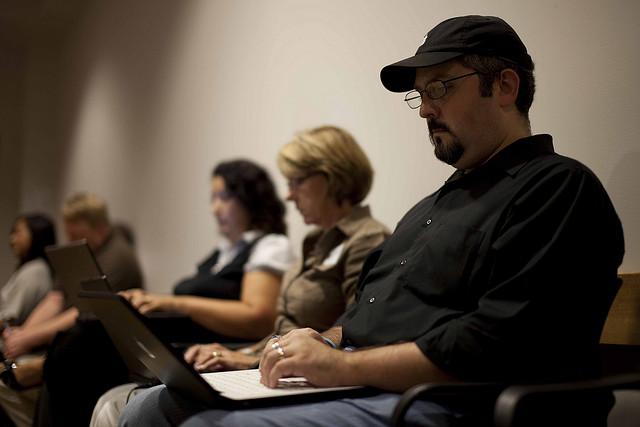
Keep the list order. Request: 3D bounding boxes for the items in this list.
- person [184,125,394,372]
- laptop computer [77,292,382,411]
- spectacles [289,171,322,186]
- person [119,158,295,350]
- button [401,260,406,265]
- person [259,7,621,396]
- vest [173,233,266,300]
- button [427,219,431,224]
[{"bbox_3d":[-0.147,0.176,2.308,0.890,1.104,0.727,-1,-4,-11],"label":"person"},{"bbox_3d":[-0.273,0.292,1.461,0.566,0.216,0.414,1,-5,-28],"label":"laptop computer"},{"bbox_3d":[-0.082,-0.154,2.306,0.081,0.021,0.063,-27,-4,2],"label":"spectacles"},{"bbox_3d":[-0.570,0.196,2.839,0.527,0.854,0.516,21,-43,-17],"label":"person"},{"bbox_3d":[0.254,0.148,1.629,0.004,0.012,0.011,15,-19,23],"label":"button"},{"bbox_3d":[0.294,0.019,1.986,1.079,1.246,1.095,2,-13,-12],"label":"person"},{"bbox_3d":[-0.528,0.272,2.757,0.479,0.259,0.313,-3,2,36],"label":"vest"},{"bbox_3d":[0.339,0.022,1.662,0.007,0.011,0.014,-6,2,-33],"label":"button"}]
